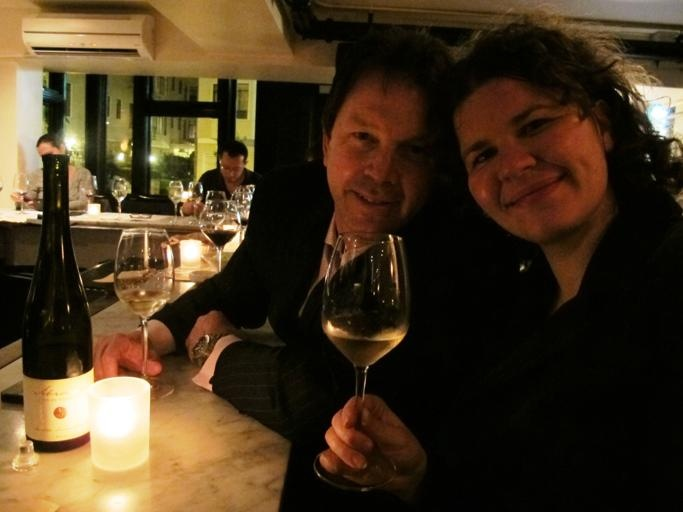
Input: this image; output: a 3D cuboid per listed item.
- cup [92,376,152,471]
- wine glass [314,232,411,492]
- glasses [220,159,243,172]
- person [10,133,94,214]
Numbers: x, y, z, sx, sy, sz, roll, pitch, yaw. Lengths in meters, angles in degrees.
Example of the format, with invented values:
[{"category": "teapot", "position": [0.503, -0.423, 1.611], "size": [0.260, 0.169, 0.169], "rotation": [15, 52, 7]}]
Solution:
[{"category": "cup", "position": [-0.485, 0.365, 1.393], "size": [0.126, 0.171, 0.119], "rotation": [0, 9, 0]}, {"category": "wine glass", "position": [0.044, 0.230, 1.420], "size": [0.207, 0.537, 0.185], "rotation": [1, 9, 4]}, {"category": "glasses", "position": [-1.049, -0.845, 6.108], "size": [0.113, 0.072, 0.151], "rotation": [1, -9, -5]}, {"category": "person", "position": [-2.849, -0.776, 6.239], "size": [0.706, 0.828, 0.735], "rotation": [0, 6, 31]}]
